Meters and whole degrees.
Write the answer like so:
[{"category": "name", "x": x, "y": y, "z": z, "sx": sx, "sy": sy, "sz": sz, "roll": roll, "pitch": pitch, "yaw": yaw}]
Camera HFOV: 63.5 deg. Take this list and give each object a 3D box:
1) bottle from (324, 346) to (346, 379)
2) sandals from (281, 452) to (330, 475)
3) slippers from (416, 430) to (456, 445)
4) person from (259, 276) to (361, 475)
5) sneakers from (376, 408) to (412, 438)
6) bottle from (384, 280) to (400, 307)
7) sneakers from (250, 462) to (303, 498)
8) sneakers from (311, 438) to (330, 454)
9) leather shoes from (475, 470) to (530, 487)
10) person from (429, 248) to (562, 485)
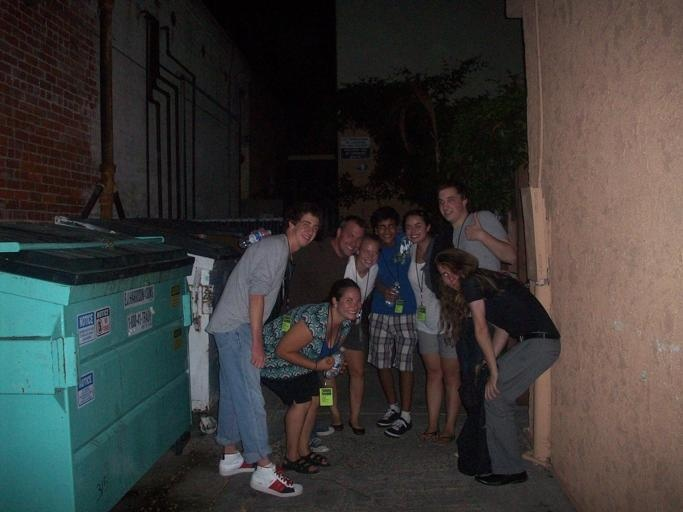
[{"category": "bottle", "x": -0.035, "y": 0.967, "z": 5.007, "sx": 0.098, "sy": 0.260, "sz": 0.165, "roll": -12, "pitch": -50, "yaw": 42}, {"category": "sandals", "x": -0.307, "y": 1.868, "z": 4.948, "sx": 0.241, "sy": 0.080, "sz": 0.197, "roll": -2, "pitch": -3, "yaw": 19}, {"category": "slippers", "x": 0.953, "y": 1.807, "z": 5.458, "sx": 0.257, "sy": 0.058, "sz": 0.148, "roll": 5, "pitch": -6, "yaw": -7}, {"category": "person", "x": -0.288, "y": 1.062, "z": 4.911, "sx": 0.958, "sy": 1.661, "sz": 0.820, "roll": 1, "pitch": -1, "yaw": 17}, {"category": "sneakers", "x": 0.568, "y": 1.746, "z": 5.742, "sx": 0.189, "sy": 0.138, "sz": 0.340, "roll": 4, "pitch": -15, "yaw": 36}, {"category": "bottle", "x": 0.538, "y": 0.393, "z": 5.630, "sx": 0.143, "sy": 0.212, "sz": 0.079, "roll": 8, "pitch": 15, "yaw": -40}, {"category": "sneakers", "x": -0.551, "y": 1.863, "z": 4.658, "sx": 0.499, "sy": 0.263, "sz": 0.194, "roll": 8, "pitch": -1, "yaw": 1}, {"category": "sneakers", "x": -0.205, "y": 1.837, "z": 5.308, "sx": 0.217, "sy": 0.093, "sz": 0.081, "roll": -8, "pitch": -10, "yaw": 33}, {"category": "leather shoes", "x": 1.376, "y": 1.901, "z": 4.682, "sx": 0.412, "sy": 0.188, "sz": 0.150, "roll": 3, "pitch": -11, "yaw": 2}, {"category": "person", "x": 1.338, "y": 0.938, "z": 4.778, "sx": 1.050, "sy": 1.954, "sz": 0.585, "roll": 5, "pitch": 12, "yaw": 22}]
